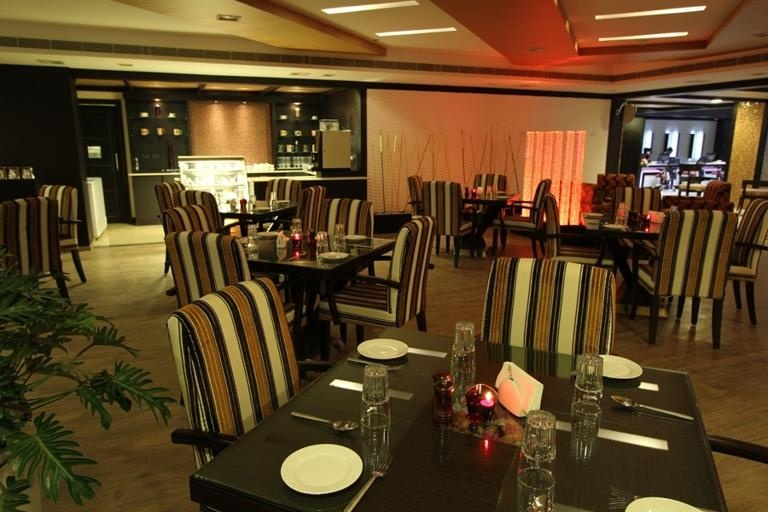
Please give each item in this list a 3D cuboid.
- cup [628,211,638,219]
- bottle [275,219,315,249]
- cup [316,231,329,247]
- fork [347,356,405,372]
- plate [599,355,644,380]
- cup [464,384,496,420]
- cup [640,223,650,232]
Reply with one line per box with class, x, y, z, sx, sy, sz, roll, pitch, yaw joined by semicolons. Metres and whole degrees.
cup;2.650;-0.444;5.524;0.111;0.074;0.110;-1;13;0
bottle;-0.791;-0.190;4.685;0.408;0.265;0.368;3;12;14
cup;-0.494;-0.137;4.246;0.126;0.160;0.118;-1;10;0
fork;-0.036;0.542;2.606;0.375;0.050;0.065;4;30;10
plate;1.199;0.570;2.636;0.202;0.019;0.185;-3;22;-4
cup;0.411;0.638;2.320;0.155;0.145;0.163;2;1;0
cup;2.656;-0.286;5.296;0.120;0.081;0.119;-3;8;0
